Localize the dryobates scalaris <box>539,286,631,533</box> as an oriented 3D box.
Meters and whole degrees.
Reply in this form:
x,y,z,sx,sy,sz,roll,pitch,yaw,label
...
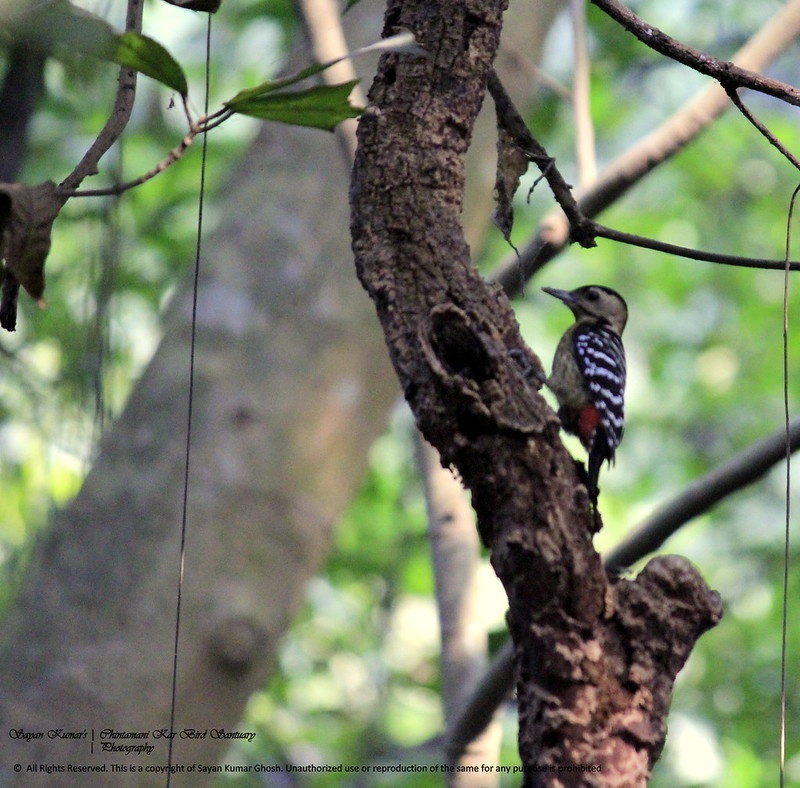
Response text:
x,y,z,sx,sy,sz,roll,pitch,yaw,label
0.782,-0.028,5.811,0.327,1.298,0.490,2,-57,9,dryobates scalaris
